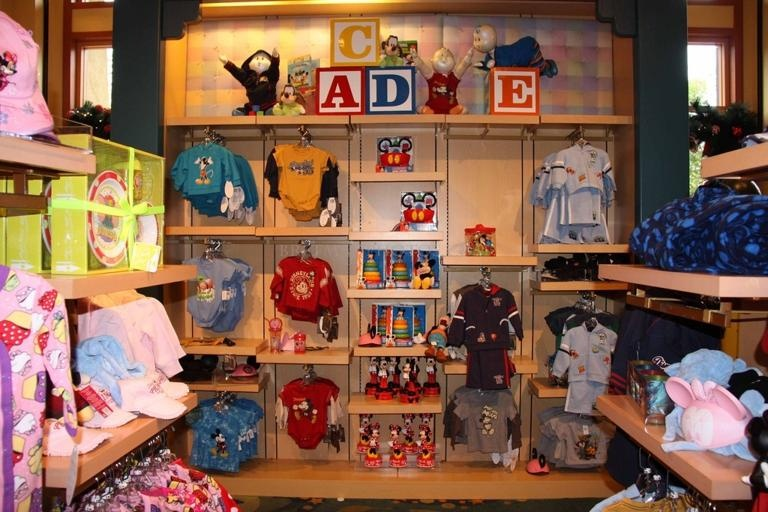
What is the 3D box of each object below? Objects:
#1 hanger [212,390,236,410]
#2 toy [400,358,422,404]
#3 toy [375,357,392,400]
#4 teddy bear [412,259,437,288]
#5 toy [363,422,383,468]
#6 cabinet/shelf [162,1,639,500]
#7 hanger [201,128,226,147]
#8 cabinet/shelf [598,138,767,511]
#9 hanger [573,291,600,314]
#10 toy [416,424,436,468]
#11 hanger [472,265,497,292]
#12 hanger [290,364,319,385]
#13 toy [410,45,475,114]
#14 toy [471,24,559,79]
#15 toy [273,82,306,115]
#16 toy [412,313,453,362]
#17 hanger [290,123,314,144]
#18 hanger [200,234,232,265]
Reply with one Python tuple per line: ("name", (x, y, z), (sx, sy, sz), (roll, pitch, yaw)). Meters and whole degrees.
("hanger", (-1.334, 1.206, 5.615), (0.103, 0.159, 0.054), (-5, -9, -3))
("toy", (0.211, 1.038, 5.593), (0.170, 0.325, 0.236), (1, 2, 2))
("toy", (0.005, 1.026, 5.689), (0.133, 0.322, 0.242), (1, 2, 0))
("teddy bear", (0.346, 0.188, 5.678), (0.232, 0.351, 0.192), (-1, -14, 8))
("toy", (-0.085, 1.583, 5.623), (0.148, 0.345, 0.119), (1, 2, 11))
("cabinet/shelf", (0.167, 0.069, 5.586), (3.567, 3.801, 1.283), (0, 0, -2))
("hanger", (-1.448, -1.003, 5.701), (0.164, 0.084, 0.215), (1, 3, -12))
("cabinet/shelf", (1.694, 0.437, 3.890), (0.663, 2.143, 1.099), (0, 2, -28))
("hanger", (1.721, 0.390, 5.693), (0.144, 0.224, 0.082), (-1, 3, 21))
("toy", (0.350, 1.586, 5.626), (0.146, 0.330, 0.170), (1, 2, 3))
("hanger", (0.842, 0.206, 5.638), (0.220, 0.253, 0.160), (0, -6, 2))
("hanger", (-0.679, 1.018, 5.751), (0.140, 0.215, 0.071), (6, -37, 13))
("toy", (0.509, -1.512, 5.772), (0.545, 0.723, 0.310), (-1, 10, -6))
("toy", (1.120, -1.750, 5.769), (0.603, 0.465, 0.278), (10, 14, -12))
("toy", (-0.802, -1.321, 5.696), (0.284, 0.310, 0.319), (1, 2, -10))
("toy", (0.404, 0.692, 5.613), (0.282, 0.340, 0.260), (1, 2, 2))
("hanger", (-0.679, -1.022, 5.762), (0.139, 0.180, 0.364), (1, 3, -7))
("hanger", (-1.473, -0.055, 5.806), (0.208, 0.189, 0.345), (0, 3, -17))
